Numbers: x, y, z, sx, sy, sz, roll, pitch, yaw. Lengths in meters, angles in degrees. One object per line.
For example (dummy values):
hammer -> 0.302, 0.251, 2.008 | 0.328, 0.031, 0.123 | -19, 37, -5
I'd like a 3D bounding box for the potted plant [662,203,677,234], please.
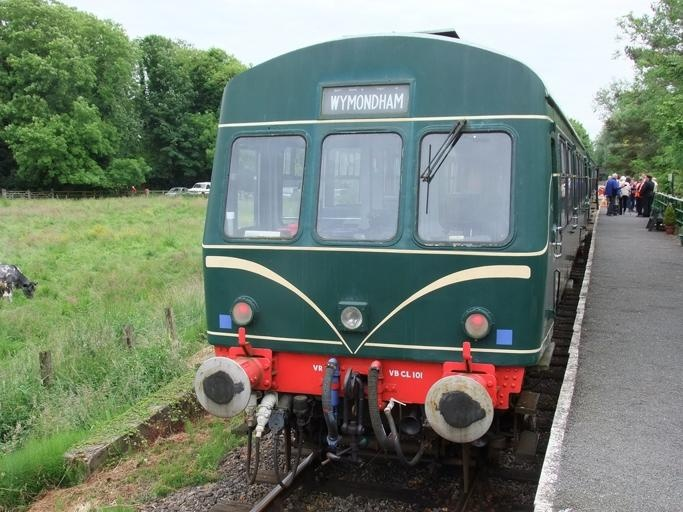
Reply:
potted plant -> 12.450, -1.406, 19.723 | 0.416, 1.159, 0.644 | 3, 5, 33
